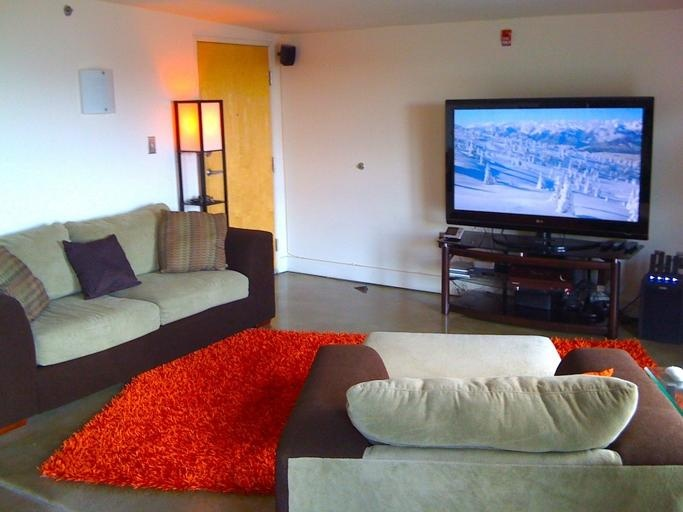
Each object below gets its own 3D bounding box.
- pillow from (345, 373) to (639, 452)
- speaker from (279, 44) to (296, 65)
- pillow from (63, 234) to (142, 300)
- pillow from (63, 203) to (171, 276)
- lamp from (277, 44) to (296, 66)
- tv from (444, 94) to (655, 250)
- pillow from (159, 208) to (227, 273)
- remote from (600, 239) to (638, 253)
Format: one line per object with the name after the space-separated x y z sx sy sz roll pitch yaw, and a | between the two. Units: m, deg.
0.567 0.677 2.309 1.074 0.281 1.051 -2 -14 10 | pillow
-0.571 -2.073 5.720 0.209 0.198 0.125 2 12 3 | speaker
-1.748 0.026 3.946 0.149 0.471 0.517 -28 8 28 | pillow
-1.632 -0.124 4.279 0.730 0.440 0.202 -9 -13 -44 | pillow
-0.562 -2.074 5.695 0.219 0.206 0.117 8 8 9 | lamp
1.705 -0.686 4.422 1.337 0.848 0.100 7 20 29 | tv
-1.183 -0.116 4.427 0.527 0.488 0.187 0 -1 -10 | pillow
2.174 -0.080 4.335 0.161 0.037 0.169 8 17 37 | remote
